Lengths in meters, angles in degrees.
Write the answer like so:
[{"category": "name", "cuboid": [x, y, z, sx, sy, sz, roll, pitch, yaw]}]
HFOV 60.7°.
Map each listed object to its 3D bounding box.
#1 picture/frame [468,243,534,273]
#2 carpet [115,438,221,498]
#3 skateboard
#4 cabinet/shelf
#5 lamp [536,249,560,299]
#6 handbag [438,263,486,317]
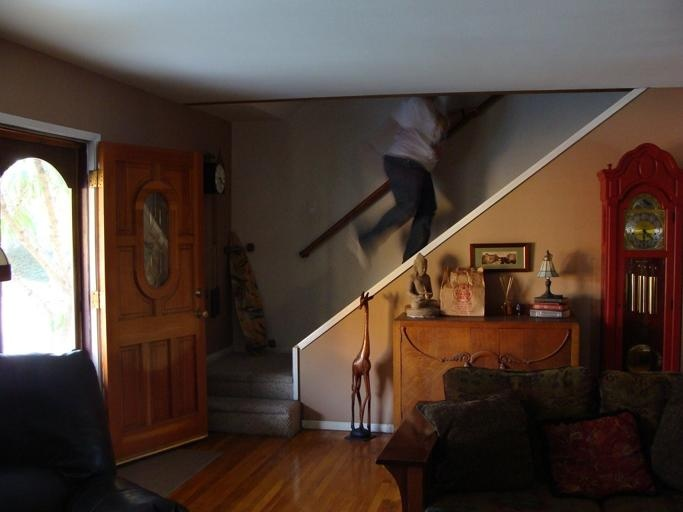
[{"category": "picture/frame", "cuboid": [1.380, 0.007, 5.116, 0.492, 0.236, 0.053, 0, 7, 10]}, {"category": "carpet", "cuboid": [-1.339, 1.628, 4.454, 0.480, 0.023, 0.577, 2, 3, 26]}, {"category": "skateboard", "cuboid": [-1.037, 0.437, 6.496, 0.305, 1.724, 0.236, -11, -1, -21]}, {"category": "cabinet/shelf", "cuboid": [1.061, 0.805, 4.184, 0.828, 0.925, 0.318, 0, -4, 5]}, {"category": "lamp", "cuboid": [1.772, 0.155, 4.972, 0.204, 0.383, 0.291, 1, 7, 19]}, {"category": "handbag", "cuboid": [1.056, 0.260, 5.157, 0.405, 0.488, 0.349, 1, 5, 15]}]
